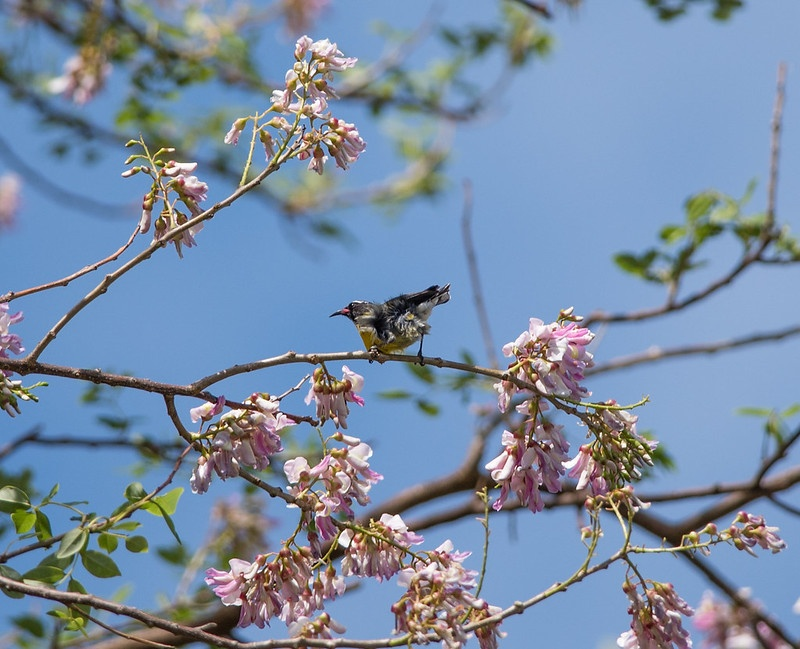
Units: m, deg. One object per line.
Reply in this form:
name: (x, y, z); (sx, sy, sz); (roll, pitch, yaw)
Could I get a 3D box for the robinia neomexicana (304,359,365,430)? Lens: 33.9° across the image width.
robinia neomexicana: (-0.265, 0.312, 5.488); (0.233, 0.186, 0.261); (24, -68, -11)

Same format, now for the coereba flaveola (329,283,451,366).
coereba flaveola: (-0.017, -0.026, 6.703); (0.629, 0.275, 0.326); (-17, -100, 8)

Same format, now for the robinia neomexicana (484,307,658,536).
robinia neomexicana: (0.692, 0.386, 5.451); (0.720, 0.417, 0.773); (-12, -66, 5)
